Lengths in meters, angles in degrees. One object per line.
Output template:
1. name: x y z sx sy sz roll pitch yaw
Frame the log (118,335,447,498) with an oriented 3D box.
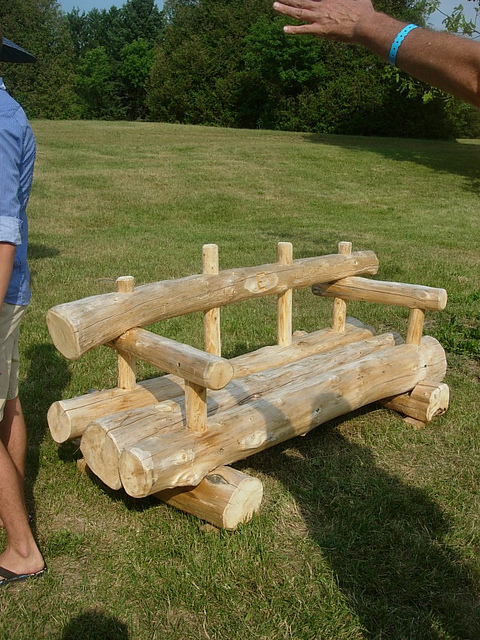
1. log: 0.695 0.534 4.290 3.701 0.672 0.525 -9 -3 -44
